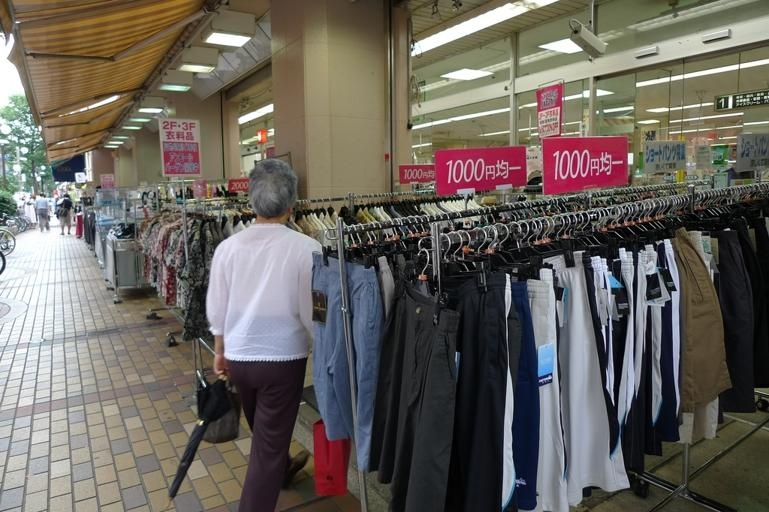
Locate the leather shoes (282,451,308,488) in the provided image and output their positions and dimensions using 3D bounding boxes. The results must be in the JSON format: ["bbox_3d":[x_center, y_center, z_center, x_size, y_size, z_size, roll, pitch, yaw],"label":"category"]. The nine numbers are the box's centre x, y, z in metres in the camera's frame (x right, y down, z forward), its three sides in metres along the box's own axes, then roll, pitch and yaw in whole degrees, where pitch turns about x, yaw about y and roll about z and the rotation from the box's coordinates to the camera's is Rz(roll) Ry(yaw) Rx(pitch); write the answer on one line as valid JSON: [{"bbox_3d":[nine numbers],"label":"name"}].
[{"bbox_3d":[-0.784,1.811,4.378,0.112,0.132,0.330,2,34,19],"label":"leather shoes"}]

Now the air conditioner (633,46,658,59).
[{"bbox_3d":[3.982,-3.095,7.739,0.321,0.137,0.111,1,9,32],"label":"air conditioner"}]

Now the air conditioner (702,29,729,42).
[{"bbox_3d":[4.668,-3.097,7.156,0.072,0.097,0.248,4,-5,-42],"label":"air conditioner"}]

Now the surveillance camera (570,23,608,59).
[{"bbox_3d":[2.769,-2.982,6.977,0.651,0.374,0.250,-11,11,-40],"label":"surveillance camera"}]
